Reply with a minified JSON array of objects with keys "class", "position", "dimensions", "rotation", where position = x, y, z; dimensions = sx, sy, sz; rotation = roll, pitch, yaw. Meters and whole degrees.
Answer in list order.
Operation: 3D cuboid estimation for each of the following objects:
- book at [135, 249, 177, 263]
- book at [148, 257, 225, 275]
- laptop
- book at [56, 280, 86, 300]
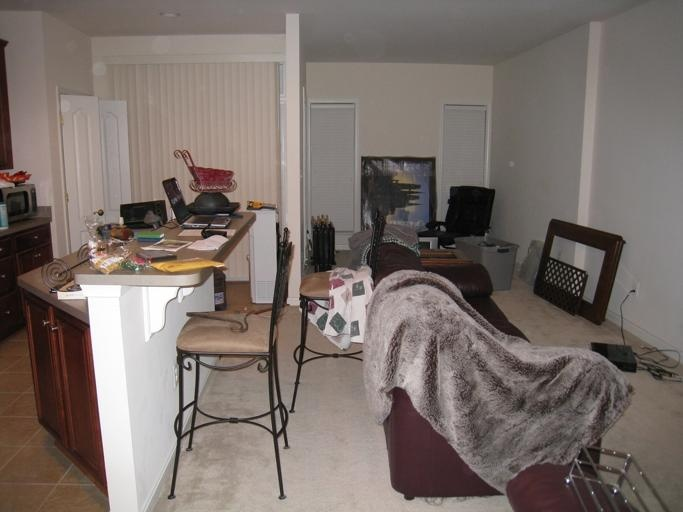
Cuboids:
[{"class":"book","position":[-1.090,-0.006,3.024],"dimensions":[0.134,0.032,0.132],"rotation":[-1,16,-26]},{"class":"book","position":[-0.869,0.049,2.866],"dimensions":[0.397,0.065,0.261],"rotation":[-4,14,-17]},{"class":"laptop","position":[-1.104,-0.348,3.889],"dimensions":[0.415,0.341,0.483],"rotation":[-1,17,-7]},{"class":"book","position":[-1.583,0.201,2.974],"dimensions":[0.168,0.041,0.176],"rotation":[1,19,-3]}]
